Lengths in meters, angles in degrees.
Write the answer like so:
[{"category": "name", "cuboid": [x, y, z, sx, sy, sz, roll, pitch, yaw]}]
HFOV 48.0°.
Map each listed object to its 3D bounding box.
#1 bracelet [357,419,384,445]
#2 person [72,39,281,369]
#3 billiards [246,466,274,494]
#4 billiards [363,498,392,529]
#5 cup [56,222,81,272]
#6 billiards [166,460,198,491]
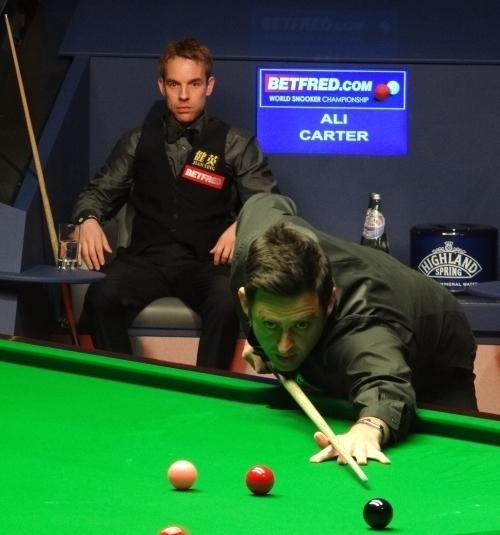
[{"category": "bracelet", "cuboid": [0.248, 0.334, 1.156, 0.018, 0.047, 0.047, -3, 21, -31]}, {"category": "person", "cuboid": [-0.501, -0.195, 3.339, 1.085, 2.189, 1.145, 2, 3, 16]}, {"category": "billiards", "cuboid": [0.018, 0.361, 0.952, 0.048, 0.042, 0.040, 0, 3, -2]}, {"category": "billiards", "cuboid": [0.183, 0.352, 0.804, 0.039, 0.045, 0.039, 0, -1, -10]}, {"category": "cup", "cuboid": [-0.952, -0.111, 2.972, 0.102, 0.233, 0.230, -1, 3, -17]}, {"category": "billiards", "cuboid": [-0.111, 0.350, 0.947, 0.048, 0.048, 0.046, 1, 3, -39]}]
